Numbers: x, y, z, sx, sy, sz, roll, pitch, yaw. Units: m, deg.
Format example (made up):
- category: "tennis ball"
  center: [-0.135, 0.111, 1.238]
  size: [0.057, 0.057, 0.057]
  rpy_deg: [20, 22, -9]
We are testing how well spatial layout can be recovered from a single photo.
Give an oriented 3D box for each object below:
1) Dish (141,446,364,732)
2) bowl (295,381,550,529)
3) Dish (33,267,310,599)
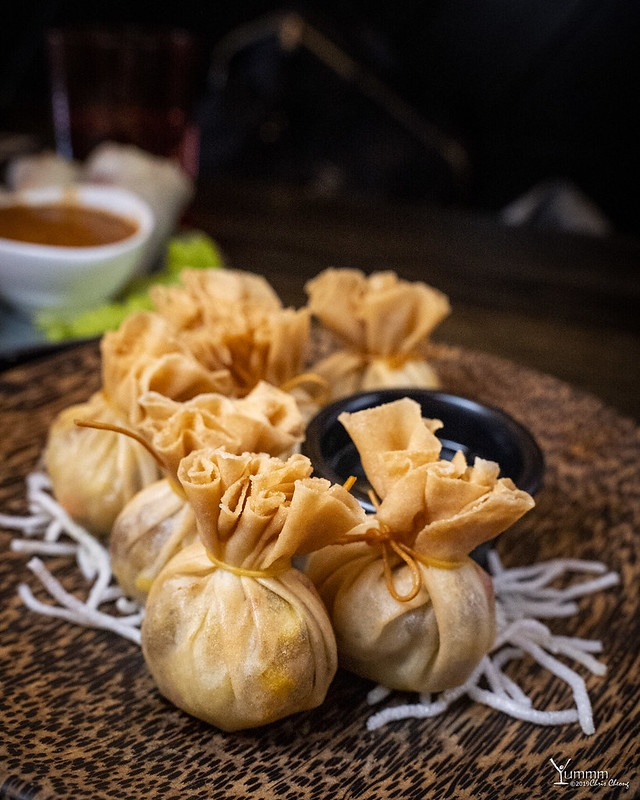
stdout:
- category: "Dish"
  center: [-0.056, 0.140, 0.688]
  size: [0.162, 0.205, 0.191]
  rpy_deg: [7, 42, -6]
- category: "bowl"
  center: [0.122, 0.037, 1.028]
  size: [0.338, 0.096, 0.311]
  rpy_deg: [-5, -1, 0]
- category: "Dish"
  center: [-0.123, 0.025, 0.944]
  size: [0.320, 0.195, 0.359]
  rpy_deg: [15, 33, 19]
